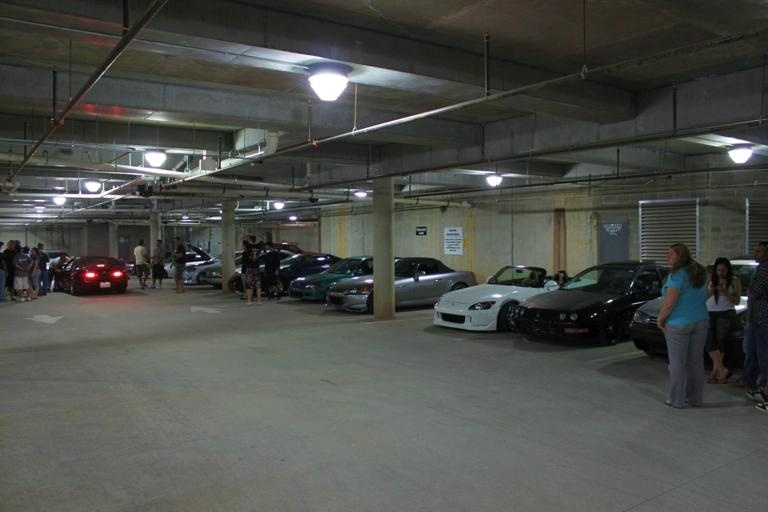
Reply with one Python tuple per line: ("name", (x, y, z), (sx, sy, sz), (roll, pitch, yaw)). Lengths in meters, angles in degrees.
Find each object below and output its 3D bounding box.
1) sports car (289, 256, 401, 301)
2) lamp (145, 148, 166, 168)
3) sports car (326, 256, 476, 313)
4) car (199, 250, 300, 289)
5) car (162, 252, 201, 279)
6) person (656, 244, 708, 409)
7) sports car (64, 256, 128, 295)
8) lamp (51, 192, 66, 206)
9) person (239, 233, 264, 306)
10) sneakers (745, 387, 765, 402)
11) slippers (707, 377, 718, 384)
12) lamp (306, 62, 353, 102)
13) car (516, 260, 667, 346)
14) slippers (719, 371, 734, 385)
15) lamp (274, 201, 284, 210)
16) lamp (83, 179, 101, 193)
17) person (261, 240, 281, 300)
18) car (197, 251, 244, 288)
("sports car", (-1.532, 0.713, 18.411), (2.771, 0.890, 1.286), (0, -2, -29))
("lamp", (-5.392, -2.339, 13.565), (0.391, 0.329, 0.455), (-7, 11, -36))
("sports car", (0.491, 0.849, 16.880), (4.179, 1.371, 1.746), (1, -5, -32))
("car", (-5.471, 0.604, 24.099), (4.231, 1.401, 1.858), (-1, 0, -25))
("car", (-10.447, 0.479, 28.032), (2.770, 1.273, 1.580), (2, -2, -17))
("person", (4.292, 1.001, 8.250), (0.620, 2.327, 0.544), (5, 11, 30))
("sports car", (-10.719, 0.800, 21.596), (1.883, 1.368, 0.853), (-2, 9, -13))
("lamp", (-13.301, -2.360, 23.457), (0.606, 0.432, 0.550), (-6, -8, 32))
("person", (-4.097, 0.387, 17.852), (0.563, 2.235, 0.665), (-3, 10, -14))
("sneakers", (5.546, 2.078, 8.627), (0.426, 0.187, 0.135), (11, -2, -19))
("slippers", (5.308, 2.004, 9.290), (0.160, 0.074, 0.141), (5, 10, 31))
("lamp", (-0.830, -2.645, 8.703), (0.666, 0.465, 0.663), (4, 12, 31))
("car", (4.358, 0.899, 11.955), (3.296, 1.057, 1.478), (-1, -1, -34))
("slippers", (5.625, 1.990, 9.417), (0.439, 0.169, 0.149), (-6, 3, -38))
("lamp", (-4.698, -2.293, 25.648), (0.373, 0.408, 1.498), (-2, 9, -11))
("lamp", (-10.076, -2.443, 19.859), (0.536, 0.380, 0.551), (-4, -6, 35))
("person", (-3.712, 0.592, 19.020), (0.542, 1.785, 0.564), (-3, 10, -14))
("car", (-6.232, 0.462, 24.048), (2.799, 1.309, 1.613), (0, -1, -29))
